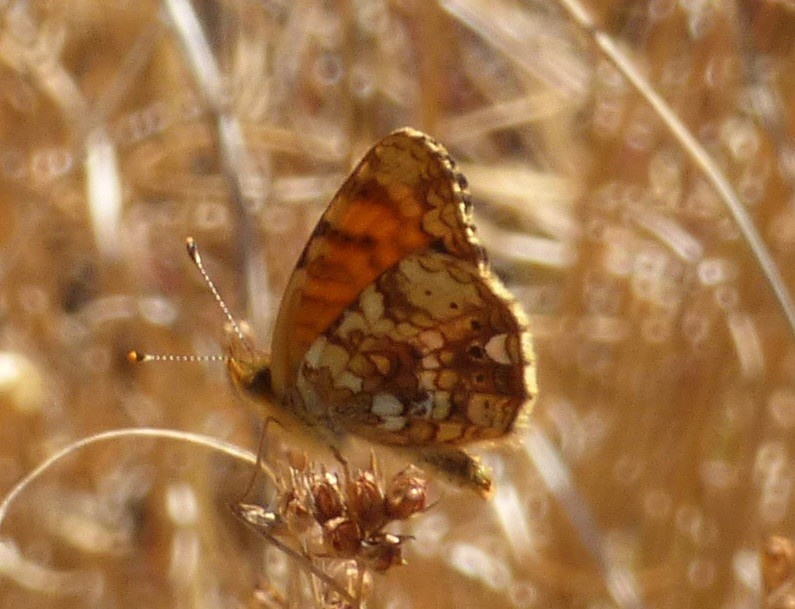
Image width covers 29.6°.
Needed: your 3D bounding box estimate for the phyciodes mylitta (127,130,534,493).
[{"bbox_3d":[-0.069,0.027,1.560,0.349,0.409,0.284,8,75,-14],"label":"phyciodes mylitta"}]
